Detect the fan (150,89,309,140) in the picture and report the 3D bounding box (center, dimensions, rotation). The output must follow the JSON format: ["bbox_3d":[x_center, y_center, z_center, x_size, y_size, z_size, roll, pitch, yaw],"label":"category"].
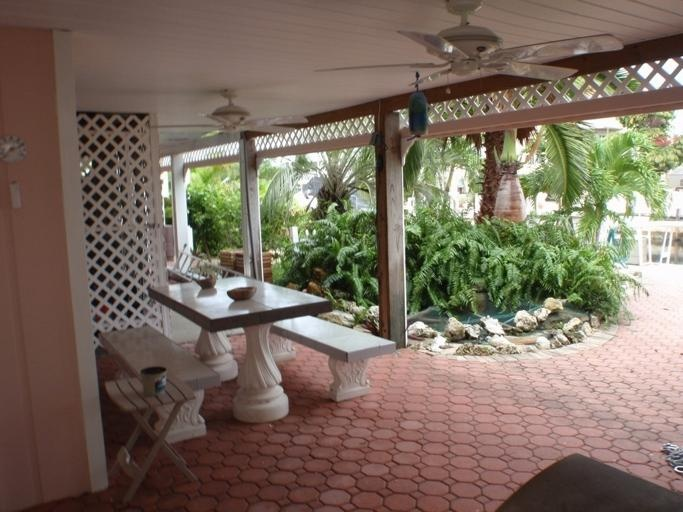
[{"bbox_3d":[-1.420,-1.851,5.919,0.952,0.306,0.987,-1,-3,6],"label":"fan"}]

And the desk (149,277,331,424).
[{"bbox_3d":[-1.126,0.944,4.784,1.173,1.006,2.157,-7,5,-34],"label":"desk"}]

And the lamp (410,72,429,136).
[{"bbox_3d":[0.586,-1.157,3.520,0.176,0.452,0.178,14,29,39],"label":"lamp"}]

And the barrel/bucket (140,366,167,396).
[{"bbox_3d":[-1.278,0.870,3.208,0.198,0.138,0.147,-2,6,-14],"label":"barrel/bucket"}]
